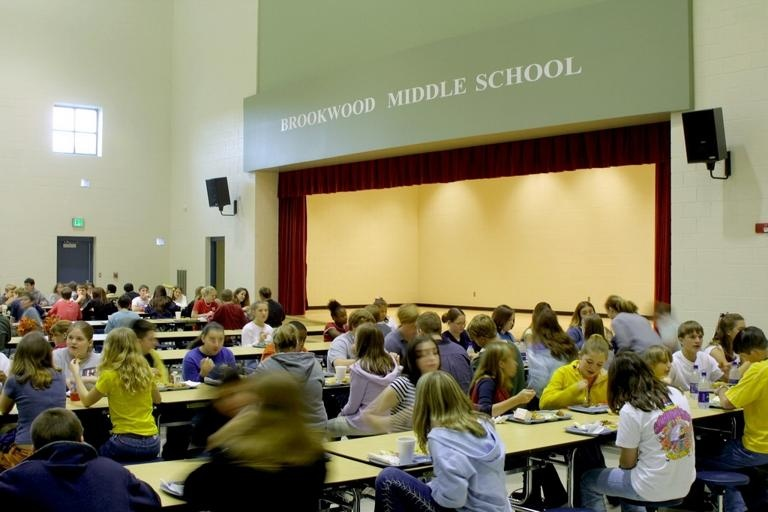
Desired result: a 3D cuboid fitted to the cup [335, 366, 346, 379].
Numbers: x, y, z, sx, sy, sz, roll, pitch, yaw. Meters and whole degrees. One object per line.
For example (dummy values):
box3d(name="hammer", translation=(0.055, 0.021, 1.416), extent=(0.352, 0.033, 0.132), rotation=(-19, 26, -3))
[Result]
box3d(name="cup", translation=(-0.473, 1.294, 6.500), extent=(0.094, 0.140, 0.146), rotation=(-4, -6, 29))

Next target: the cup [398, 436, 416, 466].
box3d(name="cup", translation=(0.152, 1.331, 4.044), extent=(0.145, 0.166, 0.153), rotation=(-2, -3, 0))

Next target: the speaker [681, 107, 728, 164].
box3d(name="speaker", translation=(4.471, -1.685, 8.195), extent=(0.542, 0.811, 0.353), rotation=(-3, -1, 17))
